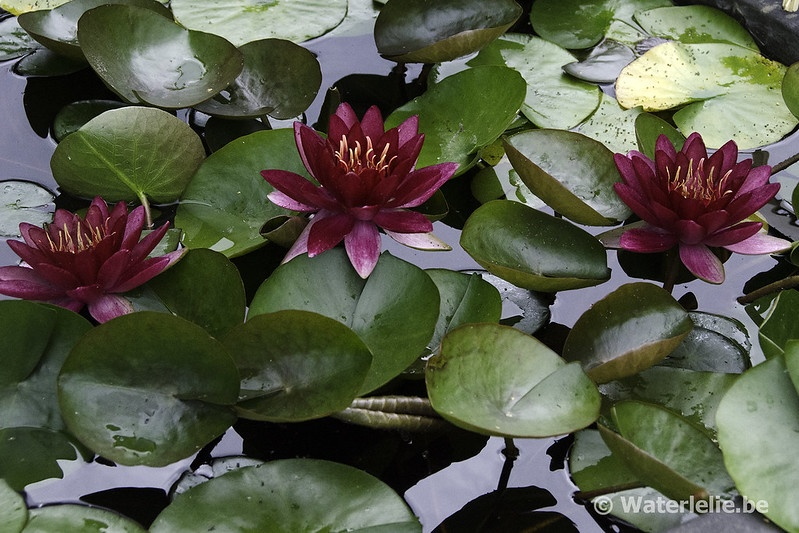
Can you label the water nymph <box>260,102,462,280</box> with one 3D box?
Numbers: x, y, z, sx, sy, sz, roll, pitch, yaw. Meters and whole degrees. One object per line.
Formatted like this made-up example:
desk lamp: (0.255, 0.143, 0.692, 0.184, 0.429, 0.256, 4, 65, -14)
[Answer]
water nymph: (-0.072, -0.247, 2.390, 0.529, 0.248, 0.590, 29, 37, 29)
